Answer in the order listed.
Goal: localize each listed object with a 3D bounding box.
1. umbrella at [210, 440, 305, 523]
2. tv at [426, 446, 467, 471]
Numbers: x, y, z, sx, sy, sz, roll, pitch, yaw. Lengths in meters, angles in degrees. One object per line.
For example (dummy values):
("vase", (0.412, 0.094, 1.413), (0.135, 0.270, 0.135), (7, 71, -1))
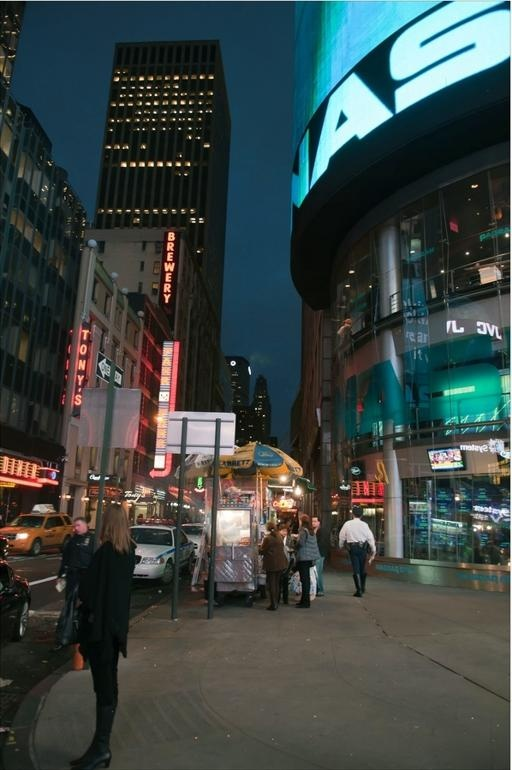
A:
("umbrella", (-0.101, 1.870, 12.339), (1.994, 0.804, 1.582), (-16, 10, -2))
("tv", (5.880, 2.304, 15.984), (0.056, 0.732, 1.382), (6, -14, -28))
